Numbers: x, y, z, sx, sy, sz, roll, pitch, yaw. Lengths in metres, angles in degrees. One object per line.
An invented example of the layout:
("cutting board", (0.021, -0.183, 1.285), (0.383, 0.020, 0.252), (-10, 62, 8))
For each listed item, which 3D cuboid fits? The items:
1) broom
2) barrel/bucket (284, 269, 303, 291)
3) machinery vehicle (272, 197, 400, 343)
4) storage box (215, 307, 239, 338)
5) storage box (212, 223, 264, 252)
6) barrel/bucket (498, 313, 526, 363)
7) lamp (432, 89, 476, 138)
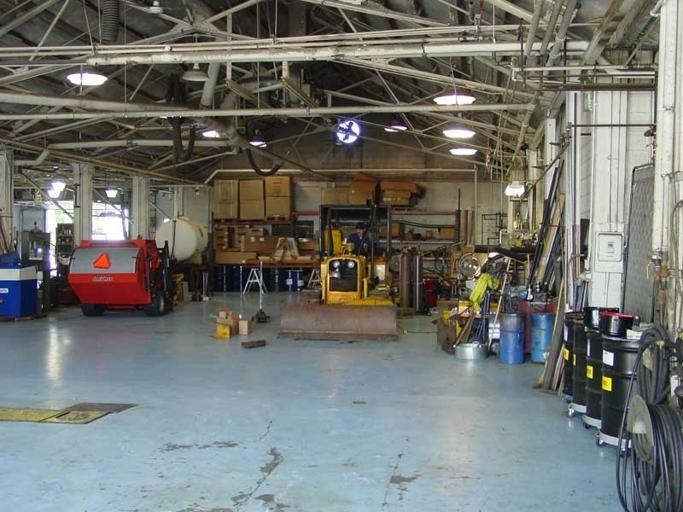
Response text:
("broom", (2.665, 1.030, 7.497), (0.366, 1.203, 0.590), (3, 3, 11))
("barrel/bucket", (-1.820, 0.908, 22.236), (0.868, 0.767, 0.791), (-1, -2, 0))
("machinery vehicle", (0.091, 0.055, 12.799), (2.317, 2.121, 4.381), (1, 11, 4))
("storage box", (-2.283, 1.277, 11.268), (0.524, 0.462, 0.512), (0, 1, 12))
("storage box", (-3.983, -0.746, 22.871), (2.279, 1.278, 1.128), (0, -1, 4))
("barrel/bucket", (2.518, 1.204, 8.802), (0.342, 0.766, 0.324), (-1, 4, 0))
("lamp", (2.306, -2.962, 12.170), (0.704, 1.064, 3.376), (0, 4, 10))
